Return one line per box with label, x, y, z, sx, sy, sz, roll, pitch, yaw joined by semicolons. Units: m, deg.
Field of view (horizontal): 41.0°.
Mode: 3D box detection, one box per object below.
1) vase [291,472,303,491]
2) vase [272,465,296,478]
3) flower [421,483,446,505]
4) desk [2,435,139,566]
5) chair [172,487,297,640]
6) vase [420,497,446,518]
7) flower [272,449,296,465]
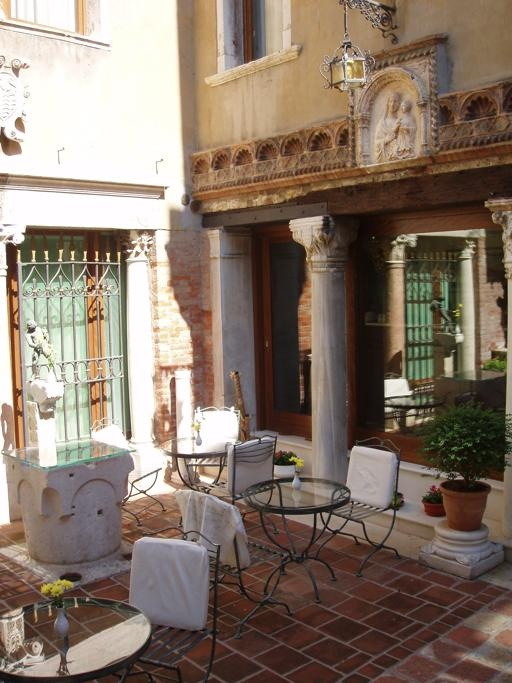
vase;0.303;1.098;5.369;0.093;0.133;0.094;-1;5;26
vase;0.294;1.405;7.364;0.235;0.127;0.220;0;1;21
flower;1.572;1.352;6.059;0.218;0.140;0.203;-1;13;21
desk;-1.629;1.307;5.964;1.007;0.879;0.968;2;3;44
chair;-0.129;1.495;4.538;0.677;1.016;0.756;-11;14;-34
vase;1.551;1.449;5.989;0.149;0.089;0.147;-1;6;1
flower;0.301;1.203;7.402;0.239;0.221;0.235;0;4;-13
